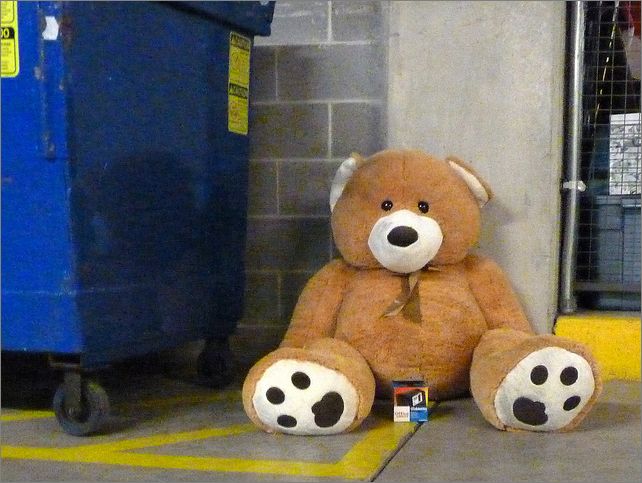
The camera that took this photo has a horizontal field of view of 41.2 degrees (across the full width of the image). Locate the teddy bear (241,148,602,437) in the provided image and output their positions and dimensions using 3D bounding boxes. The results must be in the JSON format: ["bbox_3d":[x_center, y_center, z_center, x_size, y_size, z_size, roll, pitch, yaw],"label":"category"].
[{"bbox_3d":[0.386,0.159,3.188,1.164,0.939,0.997,0,10,13],"label":"teddy bear"}]
